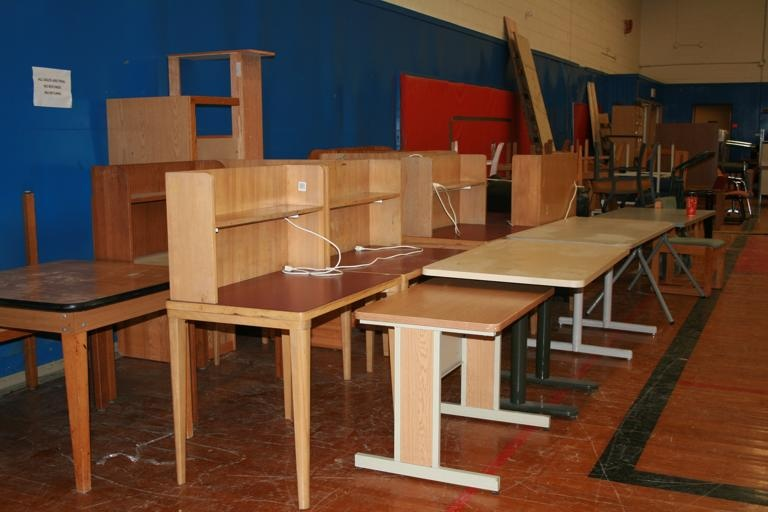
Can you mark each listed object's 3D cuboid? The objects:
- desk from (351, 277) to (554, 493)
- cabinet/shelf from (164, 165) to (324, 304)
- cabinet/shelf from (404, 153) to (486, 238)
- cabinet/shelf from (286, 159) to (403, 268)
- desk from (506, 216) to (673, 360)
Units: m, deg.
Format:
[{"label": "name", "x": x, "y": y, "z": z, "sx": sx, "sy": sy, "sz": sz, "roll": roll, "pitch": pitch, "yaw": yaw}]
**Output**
[{"label": "desk", "x": 0.374, "y": 0.648, "z": 4.526, "sx": 1.305, "sy": 1.180, "sz": 1.566, "roll": 2, "pitch": 8, "yaw": 22}, {"label": "cabinet/shelf", "x": -0.907, "y": -0.142, "z": 4.237, "sx": 0.273, "sy": 0.542, "sz": 0.972, "roll": 2, "pitch": 7, "yaw": 22}, {"label": "cabinet/shelf", "x": 0.555, "y": -0.578, "z": 6.080, "sx": 0.276, "sy": 0.526, "sz": 0.878, "roll": 2, "pitch": 8, "yaw": 24}, {"label": "cabinet/shelf", "x": -0.320, "y": -0.337, "z": 4.963, "sx": 0.298, "sy": 0.544, "sz": 0.904, "roll": 2, "pitch": 7, "yaw": 23}, {"label": "desk", "x": 2.319, "y": 0.243, "z": 6.692, "sx": 1.225, "sy": 1.002, "sz": 2.264, "roll": 5, "pitch": -2, "yaw": 20}]
